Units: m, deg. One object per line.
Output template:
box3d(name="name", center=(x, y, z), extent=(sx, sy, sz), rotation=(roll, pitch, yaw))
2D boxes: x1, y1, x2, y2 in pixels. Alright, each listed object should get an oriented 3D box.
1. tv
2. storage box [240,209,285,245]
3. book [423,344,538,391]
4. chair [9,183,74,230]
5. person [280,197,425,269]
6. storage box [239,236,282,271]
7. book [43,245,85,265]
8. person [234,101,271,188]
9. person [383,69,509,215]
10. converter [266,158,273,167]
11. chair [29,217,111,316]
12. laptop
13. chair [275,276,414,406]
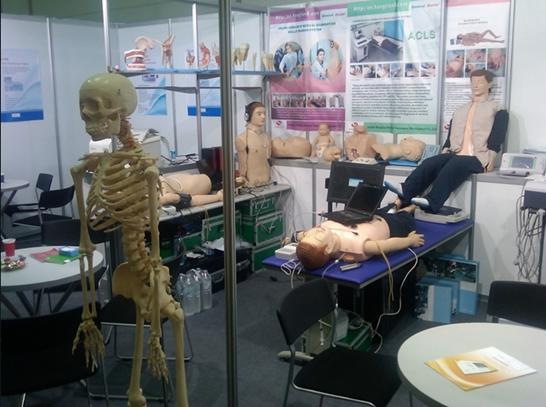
box3d(name="tv", center=(0.763, -0.183, 4.044), extent=(0.445, 0.510, 0.194), rotation=(4, 7, 35))
box3d(name="storage box", center=(-0.129, 0.272, 5.243), extent=(0.291, 0.310, 0.505), rotation=(5, 12, 44))
box3d(name="book", center=(0.952, 0.752, 2.002), extent=(0.445, 0.033, 0.205), rotation=(-6, 13, -16))
box3d(name="chair", center=(-2.090, 0.026, 3.906), extent=(0.344, 0.519, 0.284), rotation=(7, 14, 3))
box3d(name="person", center=(0.578, 0.257, 3.609), extent=(0.968, 0.286, 1.187), rotation=(5, 17, 35))
box3d(name="storage box", center=(-0.168, 0.484, 5.157), extent=(0.304, 0.367, 0.531), rotation=(3, 9, 27))
box3d(name="book", center=(-1.281, 0.321, 2.668), extent=(0.158, 0.043, 0.182), rotation=(4, 12, 9))
box3d(name="person", center=(-0.200, -0.716, 5.245), extent=(0.517, 0.984, 0.325), rotation=(-7, 13, -22))
box3d(name="person", center=(1.826, -0.638, 4.371), extent=(0.986, 1.360, 0.482), rotation=(-8, 13, -24))
box3d(name="converter", center=(-0.045, -0.520, 5.417), extent=(0.120, 0.118, 0.030), rotation=(4, 1, 1))
box3d(name="chair", center=(-1.360, 0.388, 3.005), extent=(0.518, 0.844, 0.608), rotation=(1, -26, -35))
box3d(name="laptop", center=(0.722, -0.040, 3.842), extent=(0.354, 0.280, 0.463), rotation=(12, -4, -18))
box3d(name="chair", center=(0.462, 0.929, 2.899), extent=(0.701, 1.001, 0.646), rotation=(3, 14, 35))
